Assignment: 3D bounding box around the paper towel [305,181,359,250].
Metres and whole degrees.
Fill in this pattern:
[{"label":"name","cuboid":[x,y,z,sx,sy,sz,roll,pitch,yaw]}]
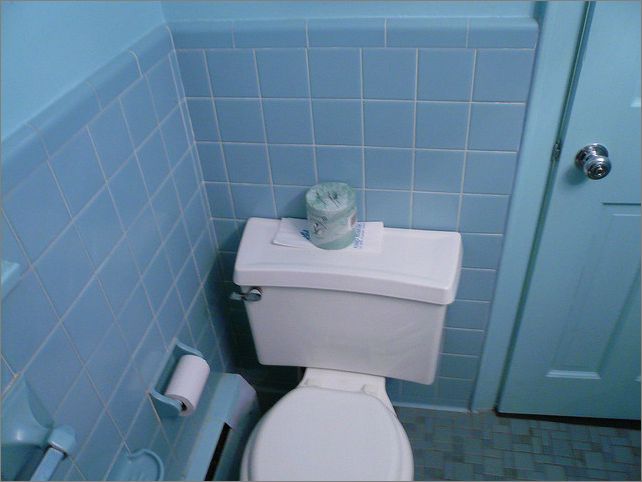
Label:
[{"label":"paper towel","cuboid":[0.022,-0.064,1.409,0.173,0.197,0.179,-14,53,-8]}]
